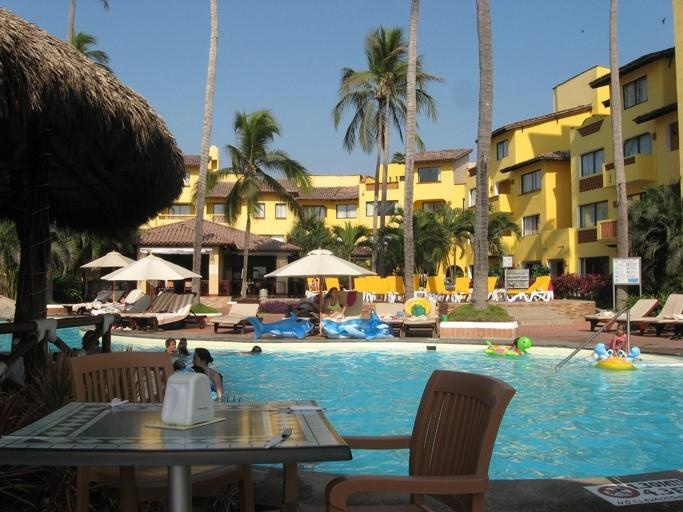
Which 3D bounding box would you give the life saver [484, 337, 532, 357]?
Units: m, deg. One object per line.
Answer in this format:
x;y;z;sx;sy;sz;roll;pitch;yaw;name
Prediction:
4.125;2.264;14.817;0.753;0.350;0.585;-1;-3;2;life saver

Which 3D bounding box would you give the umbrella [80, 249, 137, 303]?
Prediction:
-9.139;0.877;24.597;2.222;1.829;2.245;1;19;9;umbrella

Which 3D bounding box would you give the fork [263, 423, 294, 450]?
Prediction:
-0.389;1.157;3.822;0.258;0.053;0.039;-43;-48;15;fork

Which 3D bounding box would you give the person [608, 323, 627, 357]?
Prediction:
6.202;1.863;13.483;0.571;0.875;0.600;0;0;28;person

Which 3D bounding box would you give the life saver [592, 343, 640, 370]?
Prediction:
6.005;2.191;13.177;0.889;0.511;0.991;-2;-6;24;life saver

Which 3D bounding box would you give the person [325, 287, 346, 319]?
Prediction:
-0.234;1.474;18.677;0.701;1.087;0.828;1;-6;-21;person
